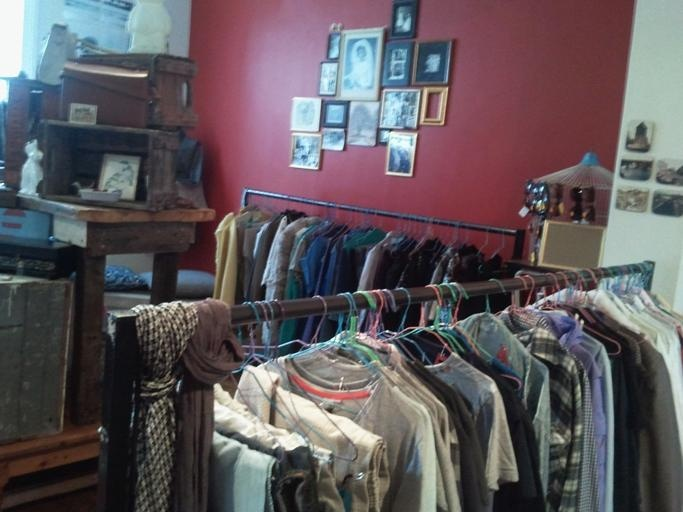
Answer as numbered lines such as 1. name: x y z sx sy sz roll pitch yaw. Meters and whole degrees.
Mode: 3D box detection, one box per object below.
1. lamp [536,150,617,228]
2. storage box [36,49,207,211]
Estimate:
1. lamp: 1.278 -0.368 2.879 0.331 0.271 0.421 7 11 31
2. storage box: -1.014 -0.581 2.530 0.789 0.884 0.611 4 3 26
